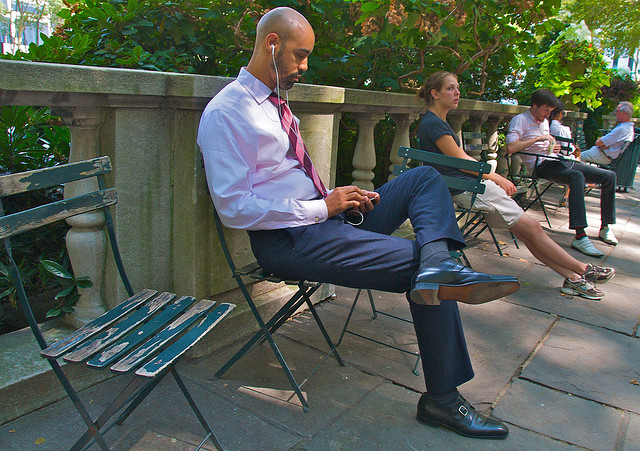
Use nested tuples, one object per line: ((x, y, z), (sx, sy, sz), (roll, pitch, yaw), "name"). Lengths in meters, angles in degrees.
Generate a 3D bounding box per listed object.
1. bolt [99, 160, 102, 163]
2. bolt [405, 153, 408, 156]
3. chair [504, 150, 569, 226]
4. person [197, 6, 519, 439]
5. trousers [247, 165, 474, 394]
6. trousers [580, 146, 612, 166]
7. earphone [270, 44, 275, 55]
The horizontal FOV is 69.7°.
((-1.109, -0.325, 2.321), (0.003, 0.013, 0.016), (8, 17, 19), "bolt")
((0.701, -0.577, 3.717), (0.020, 0.021, 0.004), (3, 18, 7), "bolt")
((3.273, -0.556, 6.639), (0.982, 0.923, 1.009), (13, 4, 13), "chair")
((0.182, -0.053, 2.614), (1.654, 2.289, 0.753), (7, 19, 19), "person")
((0.341, 0.125, 3.004), (0.758, 1.257, 1.847), (-18, 17, -33), "trousers")
((6.027, -1.479, 9.686), (0.911, 0.343, 0.450), (3, -4, 27), "trousers")
((-0.265, -0.993, 2.585), (0.022, 0.054, 0.012), (5, 18, 11), "earphone")
